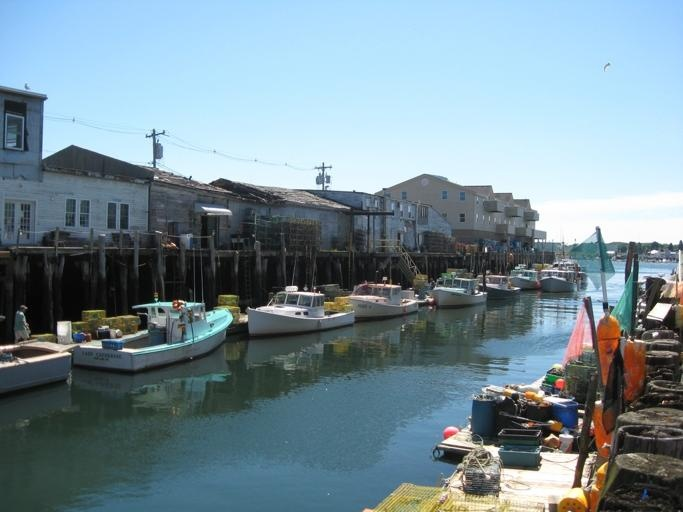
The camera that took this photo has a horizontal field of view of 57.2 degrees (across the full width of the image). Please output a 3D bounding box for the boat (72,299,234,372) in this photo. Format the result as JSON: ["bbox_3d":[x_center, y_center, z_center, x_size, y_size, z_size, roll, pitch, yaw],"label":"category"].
[{"bbox_3d":[-6.020,2.730,21.162,1.904,1.504,4.101,1,0,29],"label":"boat"}]

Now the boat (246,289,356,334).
[{"bbox_3d":[-2.016,2.473,27.078,1.713,1.683,4.521,0,-5,34],"label":"boat"}]

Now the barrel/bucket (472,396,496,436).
[{"bbox_3d":[2.968,3.363,13.065,0.496,0.801,0.368,2,5,12],"label":"barrel/bucket"}]

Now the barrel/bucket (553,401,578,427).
[{"bbox_3d":[4.669,3.310,13.043,0.500,0.489,0.325,1,5,-1],"label":"barrel/bucket"}]

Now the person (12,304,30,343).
[{"bbox_3d":[-10.191,2.108,19.831,0.437,1.182,1.991,-2,6,-28],"label":"person"}]
